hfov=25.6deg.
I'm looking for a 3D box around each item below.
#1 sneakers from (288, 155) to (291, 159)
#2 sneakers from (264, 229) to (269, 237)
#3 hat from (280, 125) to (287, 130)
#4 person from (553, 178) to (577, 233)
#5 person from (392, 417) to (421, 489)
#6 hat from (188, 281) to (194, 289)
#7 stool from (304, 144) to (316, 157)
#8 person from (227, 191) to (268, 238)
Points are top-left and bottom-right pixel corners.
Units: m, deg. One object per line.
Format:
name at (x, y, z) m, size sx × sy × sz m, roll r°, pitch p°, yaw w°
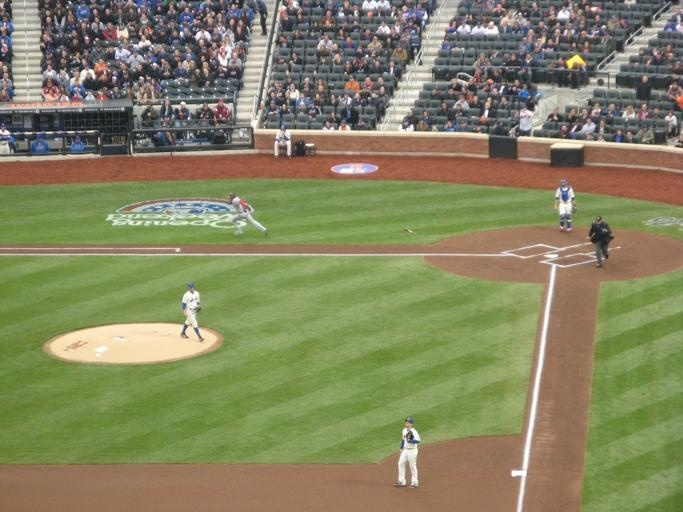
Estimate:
sneakers at (-2.420, -4.662, 69.771) m, size 0.169 × 0.184 × 0.504 m, roll 2°, pitch 2°, yaw -3°
sneakers at (-2.813, -0.911, 56.149) m, size 0.153 × 0.275 × 0.117 m, roll 7°, pitch 13°, yaw 41°
hat at (-2.730, -6.045, 69.779) m, size 0.218 × 0.251 × 0.267 m, roll 0°, pitch -15°, yaw 17°
person at (8.208, -1.881, 55.478) m, size 0.733 × 1.976 × 0.471 m, roll 7°, pitch 17°, yaw 9°
person at (1.882, 5.195, 41.203) m, size 0.624 × 1.985 × 1.249 m, roll 5°, pitch 16°, yaw 2°
hat at (-4.886, 0.921, 48.865) m, size 0.150 × 0.165 × 0.205 m, roll 22°, pitch 37°, yaw 37°
stool at (-1.432, -5.027, 69.954) m, size 0.347 × 0.530 × 0.532 m, roll 11°, pitch 17°, yaw 22°
person at (-3.548, -1.631, 55.902) m, size 2.217 × 1.279 × 0.616 m, roll 11°, pitch 14°, yaw 32°
